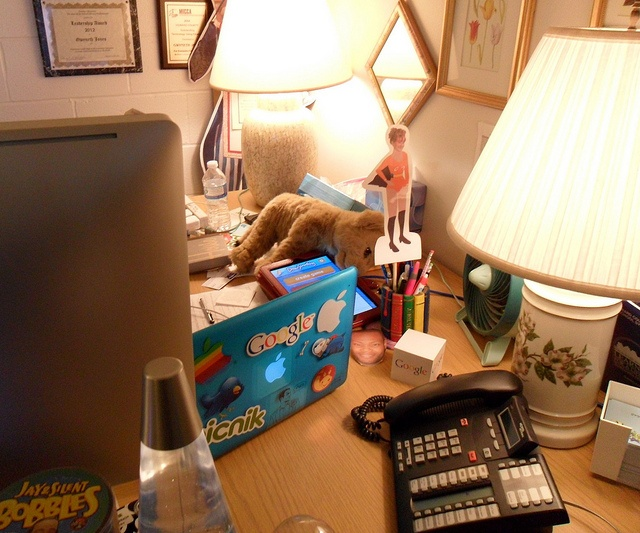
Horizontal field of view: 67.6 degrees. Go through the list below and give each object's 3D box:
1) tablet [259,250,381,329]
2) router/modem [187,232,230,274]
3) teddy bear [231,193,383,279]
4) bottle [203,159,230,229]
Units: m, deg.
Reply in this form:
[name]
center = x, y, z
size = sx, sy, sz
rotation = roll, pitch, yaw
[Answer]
[tablet]
center = -0.014, 0.060, 1.139
size = 0.188, 0.054, 0.201
rotation = -7, 54, -43
[router/modem]
center = -0.309, -0.026, 1.357
size = 0.114, 0.032, 0.125
rotation = -12, 38, -20
[teddy bear]
center = -0.034, -0.111, 1.278
size = 0.363, 0.205, 0.207
rotation = 17, 26, 27
[bottle]
center = -0.355, -0.221, 1.647
size = 0.086, 0.294, 0.151
rotation = -5, 25, -16
